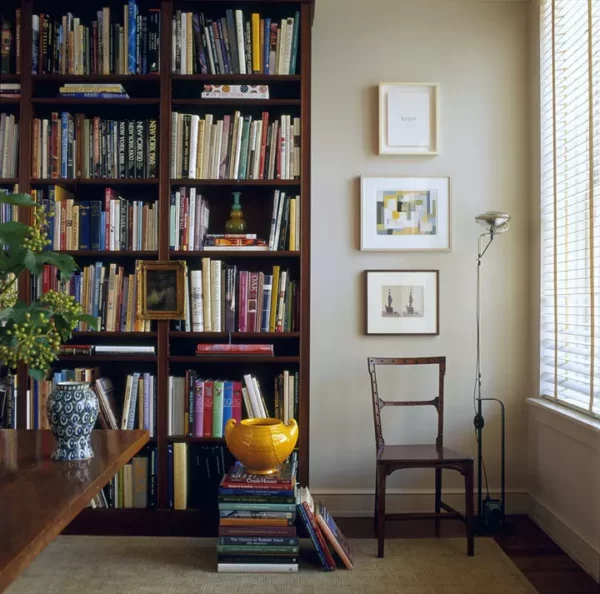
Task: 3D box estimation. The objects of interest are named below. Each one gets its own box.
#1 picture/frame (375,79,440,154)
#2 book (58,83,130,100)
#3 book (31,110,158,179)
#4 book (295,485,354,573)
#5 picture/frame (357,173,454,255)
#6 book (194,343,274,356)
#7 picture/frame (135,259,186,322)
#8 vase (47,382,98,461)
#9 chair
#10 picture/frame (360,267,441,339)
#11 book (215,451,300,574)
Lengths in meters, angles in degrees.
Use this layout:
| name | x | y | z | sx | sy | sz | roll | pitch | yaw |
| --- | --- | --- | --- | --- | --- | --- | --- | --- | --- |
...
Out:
| name | x | y | z | sx | sy | sz | roll | pitch | yaw |
| --- | --- | --- | --- | --- | --- | --- | --- | --- | --- |
| picture/frame | 0.565 | -0.939 | 3.623 | 0.337 | 0.430 | 0.032 | 0 | -1 | -3 |
| book | -0.996 | -0.987 | 3.328 | 0.322 | 0.066 | 0.028 | 0 | 8 | -3 |
| book | -0.995 | -0.732 | 3.356 | 0.610 | 0.306 | 0.081 | 1 | 8 | 4 |
| book | 0.115 | 1.042 | 3.121 | 0.251 | 0.287 | 0.235 | 0 | 8 | 0 |
| picture/frame | 0.544 | -0.435 | 3.633 | 0.369 | 0.329 | 0.016 | 0 | 2 | 0 |
| book | -0.317 | 0.260 | 3.338 | 0.364 | 0.058 | 0.046 | 1 | 8 | 4 |
| picture/frame | -0.668 | -0.032 | 3.333 | 0.269 | 0.371 | 0.059 | 0 | -1 | 2 |
| vase | -0.742 | 0.406 | 2.258 | 0.153 | 0.220 | 0.169 | -1 | 8 | -11 |
| chair | 0.608 | 0.741 | 3.370 | 0.563 | 0.845 | 0.670 | 1 | 8 | 6 |
| picture/frame | 0.523 | 0.030 | 3.632 | 0.328 | 0.312 | 0.027 | -1 | 2 | 0 |
| book | -0.181 | 0.979 | 3.028 | 0.278 | 0.221 | 0.421 | 0 | -3 | 2 |
